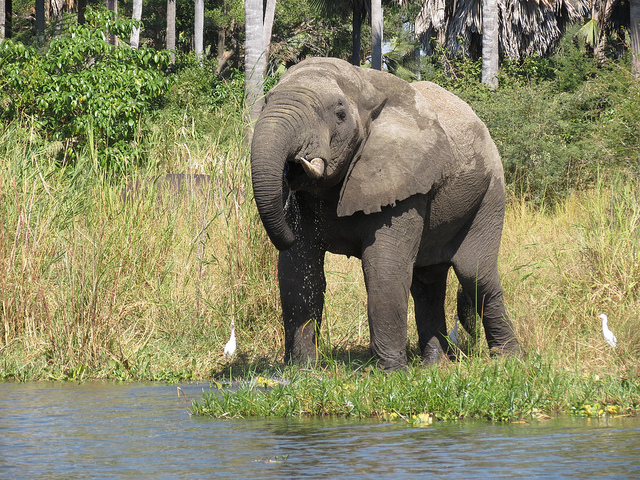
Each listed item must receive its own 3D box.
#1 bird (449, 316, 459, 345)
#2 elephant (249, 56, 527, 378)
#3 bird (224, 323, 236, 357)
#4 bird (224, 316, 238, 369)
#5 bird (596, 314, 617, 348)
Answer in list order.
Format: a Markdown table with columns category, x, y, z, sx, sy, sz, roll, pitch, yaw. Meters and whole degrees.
| category | x | y | z | sx | sy | sz | roll | pitch | yaw |
| --- | --- | --- | --- | --- | --- | --- | --- | --- | --- |
| bird | 1.327 | 0.906 | 9.869 | 0.069 | 0.279 | 0.066 | 14 | -9 | -13 |
| elephant | 0.591 | -0.151 | 9.328 | 1.473 | 2.893 | 3.091 | 3 | 2 | 44 |
| bird | -0.839 | 0.948 | 9.281 | 0.071 | 0.355 | 0.097 | 5 | 15 | 4 |
| bird | -0.802 | 0.992 | 9.341 | 0.108 | 0.526 | 0.153 | 1 | 11 | -18 |
| bird | 2.689 | 0.846 | 9.379 | 0.161 | 0.286 | 0.401 | 2 | 7 | 17 |
